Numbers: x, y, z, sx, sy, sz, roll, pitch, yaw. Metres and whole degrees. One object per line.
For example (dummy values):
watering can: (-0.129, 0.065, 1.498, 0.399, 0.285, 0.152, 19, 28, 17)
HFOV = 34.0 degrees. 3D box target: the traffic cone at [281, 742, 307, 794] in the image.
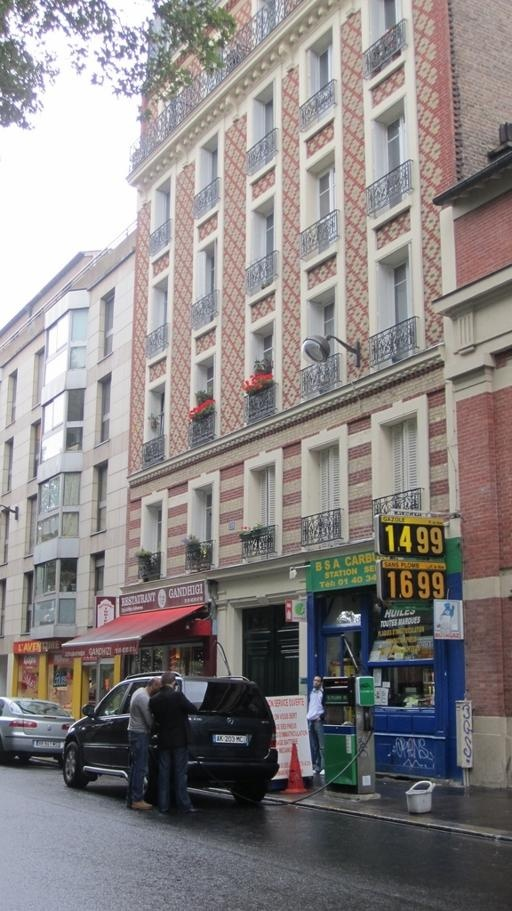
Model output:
traffic cone: (0.538, 4.328, 11.619, 0.256, 0.625, 0.643, -2, -15, 2)

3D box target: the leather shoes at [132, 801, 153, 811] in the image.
leather shoes: (-1.257, 3.895, 9.324, 0.232, 0.133, 0.098, 0, -4, 4)

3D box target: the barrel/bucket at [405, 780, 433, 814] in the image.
barrel/bucket: (1.761, 3.785, 9.278, 0.263, 0.370, 0.383, -13, -25, 32)

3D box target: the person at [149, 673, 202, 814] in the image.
person: (-0.931, 3.210, 9.437, 0.522, 1.485, 0.586, 2, -15, -13)

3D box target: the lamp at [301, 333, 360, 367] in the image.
lamp: (1.537, -2.203, 17.006, 1.029, 0.661, 0.616, -1, -4, -29)

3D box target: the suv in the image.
suv: (-1.198, 3.652, 10.909, 1.519, 1.379, 2.923, 16, -25, -34)
